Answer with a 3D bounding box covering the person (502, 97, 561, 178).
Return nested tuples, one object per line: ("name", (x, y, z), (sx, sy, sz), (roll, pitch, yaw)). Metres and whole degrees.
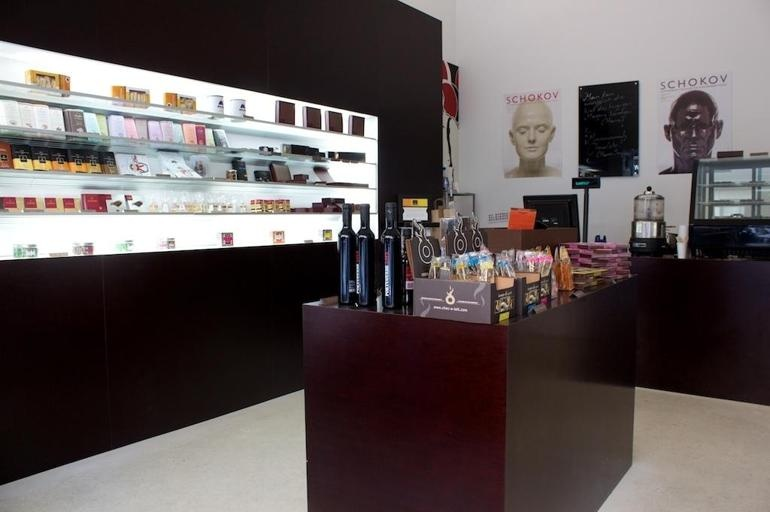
("person", (2.312, -1.800, 8.020), (1.156, 1.507, 0.933), (0, 1, 21))
